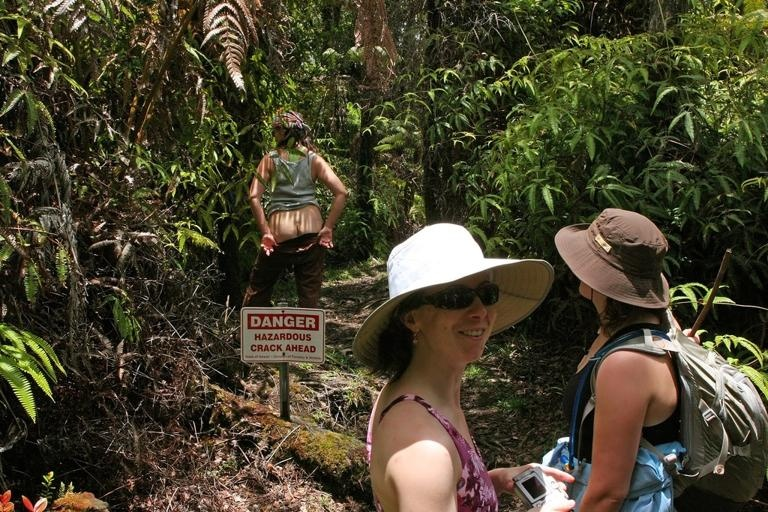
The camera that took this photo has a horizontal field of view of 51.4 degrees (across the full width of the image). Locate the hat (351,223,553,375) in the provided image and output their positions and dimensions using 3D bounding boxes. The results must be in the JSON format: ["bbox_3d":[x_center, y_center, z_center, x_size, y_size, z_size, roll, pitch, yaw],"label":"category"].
[{"bbox_3d":[0.367,0.090,4.163,0.768,0.434,0.840,-17,-35,-7],"label":"hat"}]

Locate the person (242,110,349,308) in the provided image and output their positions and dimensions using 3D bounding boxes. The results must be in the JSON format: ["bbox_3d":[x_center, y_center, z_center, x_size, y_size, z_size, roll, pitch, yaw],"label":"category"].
[{"bbox_3d":[-0.726,-0.362,6.722,0.820,1.706,1.390,2,5,-11],"label":"person"}]

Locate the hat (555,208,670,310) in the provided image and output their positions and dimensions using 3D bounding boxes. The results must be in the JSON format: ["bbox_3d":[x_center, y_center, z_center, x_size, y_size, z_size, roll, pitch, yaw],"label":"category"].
[{"bbox_3d":[1.248,0.007,4.301,0.526,0.282,0.524,32,46,22],"label":"hat"}]
